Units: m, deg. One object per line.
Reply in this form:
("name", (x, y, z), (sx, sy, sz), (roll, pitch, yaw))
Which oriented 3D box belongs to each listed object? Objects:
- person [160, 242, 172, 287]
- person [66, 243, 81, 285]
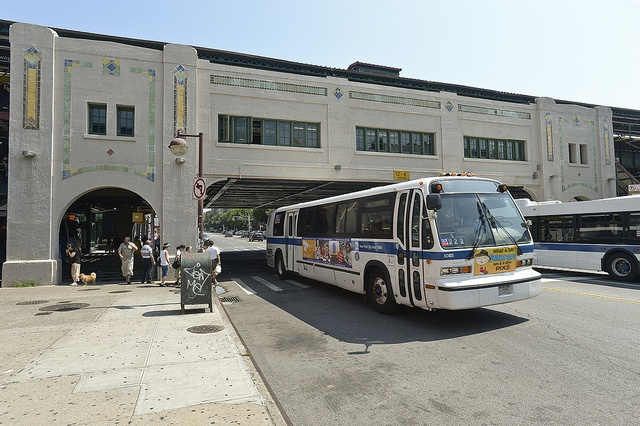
("person", (-6.838, 2.316, 20.515), (0.478, 1.760, 1.350), (-5, 15, -16))
("person", (-10.841, 2.325, 20.612), (0.471, 1.897, 1.297), (-9, 17, -28))
